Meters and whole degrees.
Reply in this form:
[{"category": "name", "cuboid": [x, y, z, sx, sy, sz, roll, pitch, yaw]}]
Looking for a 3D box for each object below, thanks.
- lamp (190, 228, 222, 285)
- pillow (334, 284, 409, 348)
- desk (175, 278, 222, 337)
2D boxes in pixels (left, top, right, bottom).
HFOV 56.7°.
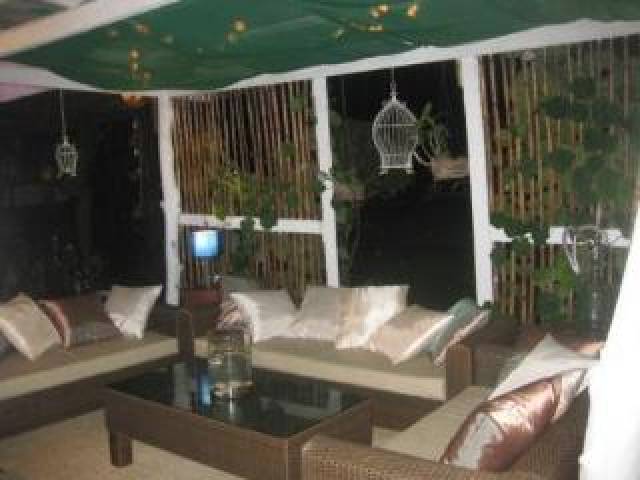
[{"category": "lamp", "cuboid": [-1.281, 0.196, 6.671, 0.303, 0.572, 0.336, -3, 1, 27]}, {"category": "pillow", "cuboid": [0.468, 0.593, 5.125, 0.588, 0.216, 0.703, 2, 32, 9]}, {"category": "desk", "cuboid": [-1.181, 0.693, 5.827, 0.467, 0.506, 0.562, -4, 13, -15]}]
